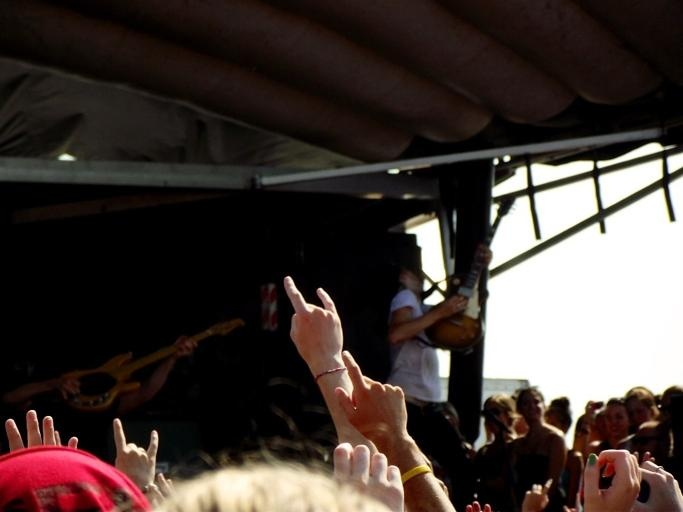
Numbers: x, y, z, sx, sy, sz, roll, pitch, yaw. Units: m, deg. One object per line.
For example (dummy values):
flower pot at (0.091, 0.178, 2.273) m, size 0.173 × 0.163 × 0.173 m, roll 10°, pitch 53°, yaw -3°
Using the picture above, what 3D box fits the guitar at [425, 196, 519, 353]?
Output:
guitar at (0.996, 0.177, 5.918) m, size 0.429 × 1.214 × 0.168 m, roll 26°, pitch 2°, yaw 8°

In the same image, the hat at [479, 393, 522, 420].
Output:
hat at (1.208, 1.198, 6.218) m, size 0.233 × 0.205 × 0.171 m, roll -16°, pitch 15°, yaw -32°
